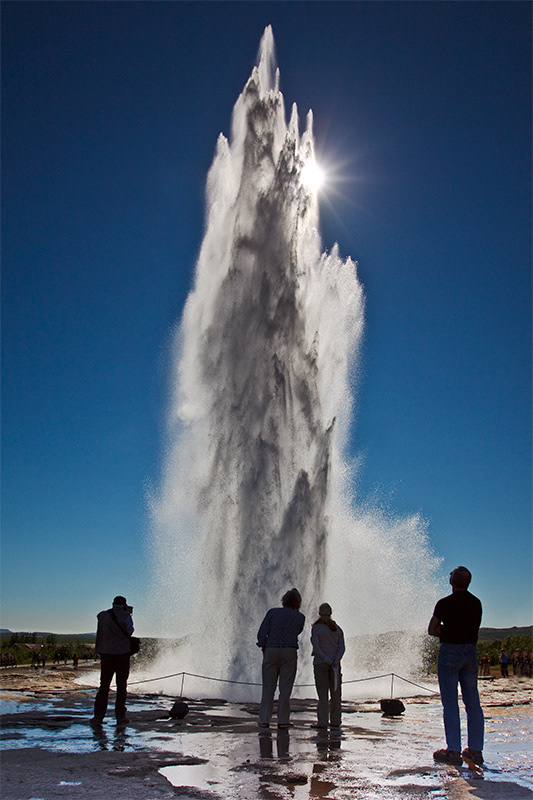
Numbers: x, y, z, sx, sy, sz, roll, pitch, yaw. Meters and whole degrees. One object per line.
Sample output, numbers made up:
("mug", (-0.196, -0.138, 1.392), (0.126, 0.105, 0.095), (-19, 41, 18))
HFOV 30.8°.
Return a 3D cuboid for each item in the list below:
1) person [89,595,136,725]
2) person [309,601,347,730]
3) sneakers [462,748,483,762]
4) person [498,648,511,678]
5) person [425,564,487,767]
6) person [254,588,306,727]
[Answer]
("person", (-1.678, 2.887, 10.760), (0.477, 1.424, 1.616), (3, -17, -8))
("person", (0.677, 2.933, 10.752), (0.366, 1.408, 0.898), (0, -15, 3))
("sneakers", (1.713, 2.968, 8.045), (0.165, 0.126, 0.247), (-2, -19, 13))
("person", (8.417, 9.383, 34.282), (0.226, 0.904, 1.580), (-1, -18, 11))
("person", (1.620, 2.254, 8.265), (0.469, 1.655, 0.617), (-4, -15, 21))
("person", (0.167, 2.837, 10.716), (0.500, 1.548, 0.574), (-8, -17, 31))
